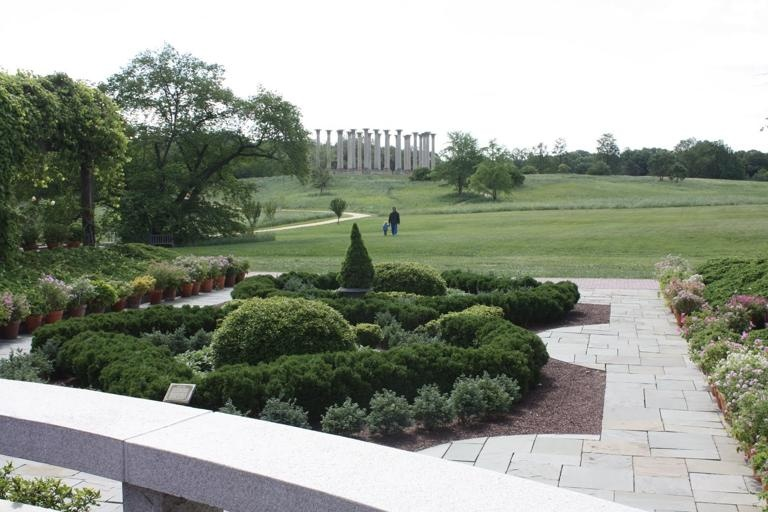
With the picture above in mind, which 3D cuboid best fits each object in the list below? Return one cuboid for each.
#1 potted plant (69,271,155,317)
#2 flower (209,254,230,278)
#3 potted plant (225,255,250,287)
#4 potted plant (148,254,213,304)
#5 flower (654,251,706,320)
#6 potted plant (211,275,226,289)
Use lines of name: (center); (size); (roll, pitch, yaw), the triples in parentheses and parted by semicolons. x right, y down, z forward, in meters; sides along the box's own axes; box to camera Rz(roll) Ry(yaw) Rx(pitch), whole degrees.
potted plant: (-6.406, 0.834, 18.366); (0.792, 0.934, 2.451); (2, 8, 20)
flower: (-4.661, 0.276, 22.254); (0.545, 0.368, 0.518); (-6, -6, -35)
potted plant: (-4.303, 0.411, 23.091); (0.840, 1.036, 1.041); (0, 4, 4)
potted plant: (-5.421, 0.596, 20.703); (1.248, 0.862, 1.147); (-6, 7, -44)
flower: (6.783, 0.738, 17.932); (0.799, 0.997, 3.034); (-2, 0, 7)
potted plant: (-4.661, 0.722, 22.373); (0.358, 0.256, 0.353); (0, 1, -1)
